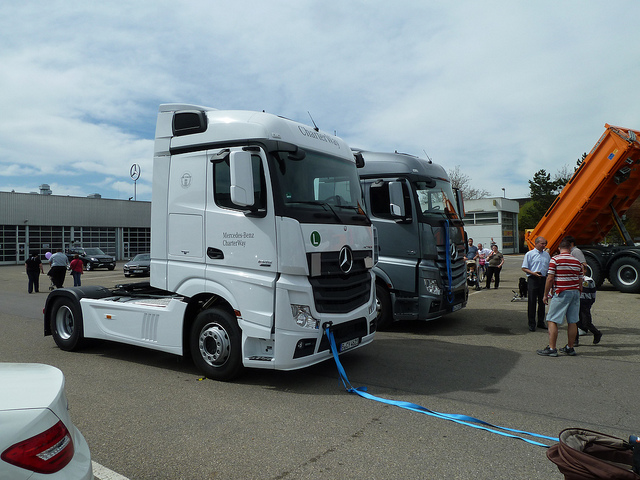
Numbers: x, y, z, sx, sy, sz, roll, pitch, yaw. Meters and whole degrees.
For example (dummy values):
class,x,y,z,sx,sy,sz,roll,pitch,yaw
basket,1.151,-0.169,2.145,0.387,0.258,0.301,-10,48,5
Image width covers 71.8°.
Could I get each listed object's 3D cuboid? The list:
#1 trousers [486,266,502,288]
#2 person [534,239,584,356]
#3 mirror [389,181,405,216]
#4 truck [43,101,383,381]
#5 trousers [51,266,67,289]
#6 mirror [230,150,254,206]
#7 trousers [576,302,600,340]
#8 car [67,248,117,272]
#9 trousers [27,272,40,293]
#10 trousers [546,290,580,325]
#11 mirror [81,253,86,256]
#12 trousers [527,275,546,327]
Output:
class,x,y,z,sx,sy,sz,roll,pitch,yaw
trousers,6.890,1.483,17.610,0.478,0.913,1.117,0,1,20
person,4.218,0.995,7.746,0.845,1.991,0.487,-1,2,-35
mirror,1.509,-0.800,8.736,0.243,0.635,0.641,0,1,13
truck,-1.948,0.038,6.514,5.194,3.414,3.027,-3,-2,30
trousers,-10.584,1.481,17.924,0.400,0.844,0.713,0,1,5
mirror,-1.009,-0.796,5.709,0.303,0.712,0.288,0,1,-11
trousers,5.158,1.562,8.495,0.347,0.783,0.833,1,1,30
car,-16.266,1.431,31.333,3.885,1.374,1.802,-2,-3,29
trousers,-12.258,1.813,18.914,0.340,0.847,0.626,-1,1,-28
trousers,4.217,1.162,7.638,0.639,0.668,0.397,6,-3,-4
mirror,-17.961,1.123,33.597,0.322,0.183,0.248,0,1,-8
trousers,4.750,1.345,9.696,0.359,1.142,0.629,0,1,26
